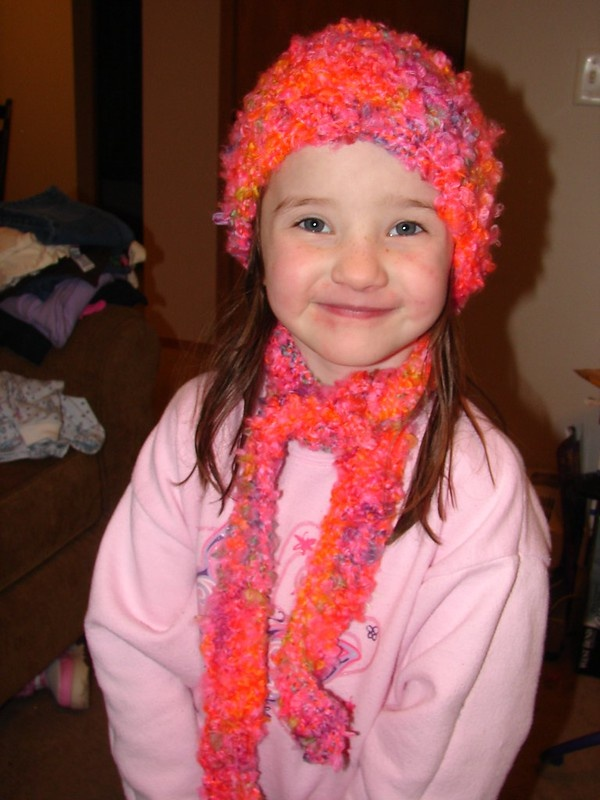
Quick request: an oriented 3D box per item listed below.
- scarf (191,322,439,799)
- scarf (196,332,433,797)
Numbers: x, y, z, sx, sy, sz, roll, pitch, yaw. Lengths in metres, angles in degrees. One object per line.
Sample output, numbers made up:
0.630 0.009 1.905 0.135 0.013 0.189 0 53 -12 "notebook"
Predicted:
0.016 0.203 0.996 0.226 0.717 0.108 7 -13 13 "scarf"
0.014 0.217 1.019 0.229 0.707 0.102 6 -14 13 "scarf"
